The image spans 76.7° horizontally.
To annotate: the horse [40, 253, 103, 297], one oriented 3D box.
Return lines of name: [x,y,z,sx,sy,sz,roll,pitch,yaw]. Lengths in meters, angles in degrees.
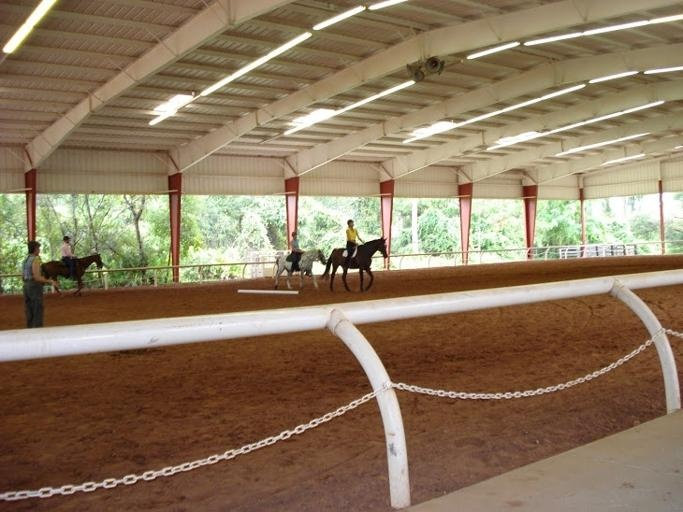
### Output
horse: [-10.049,0.664,16.251,2.365,1.413,0.546,-1,3,-4]

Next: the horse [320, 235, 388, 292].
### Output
horse: [0.367,0.288,14.351,2.500,1.666,0.609,-4,-7,33]

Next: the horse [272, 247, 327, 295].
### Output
horse: [-1.486,0.436,15.299,2.222,1.363,0.624,-2,-4,31]
